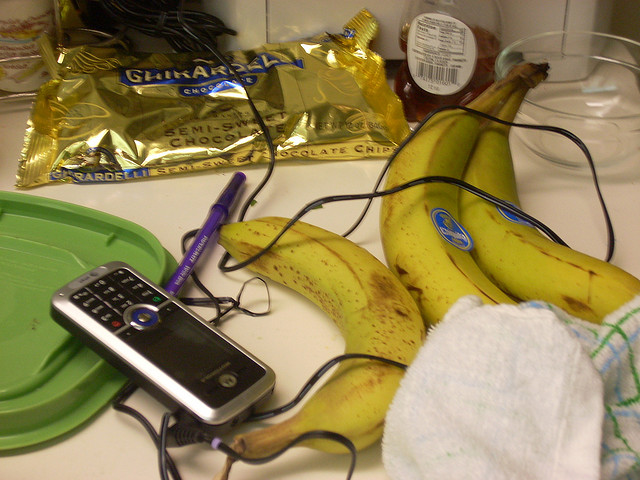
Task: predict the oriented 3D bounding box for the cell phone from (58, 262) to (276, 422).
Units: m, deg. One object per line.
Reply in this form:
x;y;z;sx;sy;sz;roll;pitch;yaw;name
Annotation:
-0.125;0.081;0.447;0.186;0.024;0.084;32;46;24;cell phone

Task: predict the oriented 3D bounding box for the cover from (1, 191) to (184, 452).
-0.228;0.038;0.520;0.163;0.096;0.261;-19;38;-16;cover

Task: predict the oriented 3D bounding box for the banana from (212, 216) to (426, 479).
-0.001;0.077;0.476;0.175;0.098;0.236;-7;36;-1;banana

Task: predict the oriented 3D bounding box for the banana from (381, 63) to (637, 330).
0.161;-0.049;0.523;0.204;0.143;0.251;-3;37;5;banana
